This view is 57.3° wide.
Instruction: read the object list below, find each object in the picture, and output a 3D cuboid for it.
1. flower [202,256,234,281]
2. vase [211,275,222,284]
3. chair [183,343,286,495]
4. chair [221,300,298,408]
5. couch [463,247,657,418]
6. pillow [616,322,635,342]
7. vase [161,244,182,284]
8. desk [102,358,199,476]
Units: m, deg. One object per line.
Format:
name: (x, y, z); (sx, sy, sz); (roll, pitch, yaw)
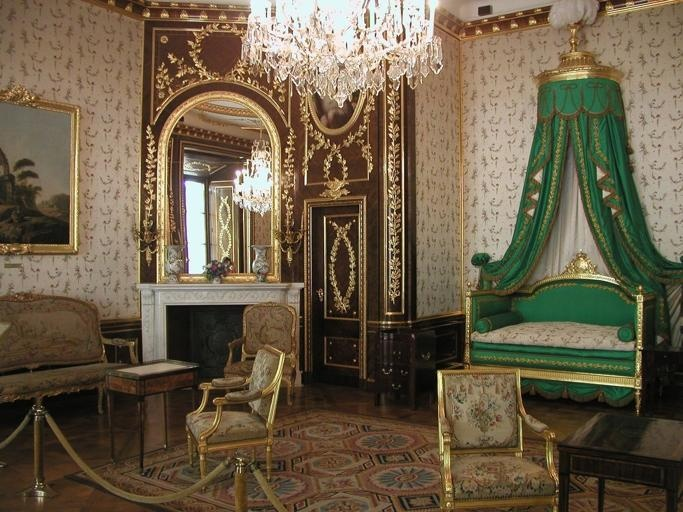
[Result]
flower: (-1.580, 0.172, 8.025); (0.366, 0.223, 0.184); (0, 0, -14)
vase: (-1.594, 0.304, 7.940); (0.107, 0.111, 0.112); (1, -6, -7)
chair: (-0.931, 1.301, 5.221); (0.857, 1.040, 0.894); (-1, -2, 43)
chair: (-0.915, 1.160, 7.139); (1.001, 1.277, 0.952); (4, -6, -36)
couch: (2.646, 0.858, 7.396); (2.007, 1.727, 1.201); (-2, 0, 42)
pillow: (2.995, 0.817, 6.676); (0.160, 0.174, 0.264); (-1, 3, 23)
vase: (-2.192, 0.110, 8.022); (0.278, 0.497, 0.289); (-1, -2, 1)
desk: (-1.710, 1.406, 5.660); (0.506, 0.830, 0.711); (0, -1, 25)
